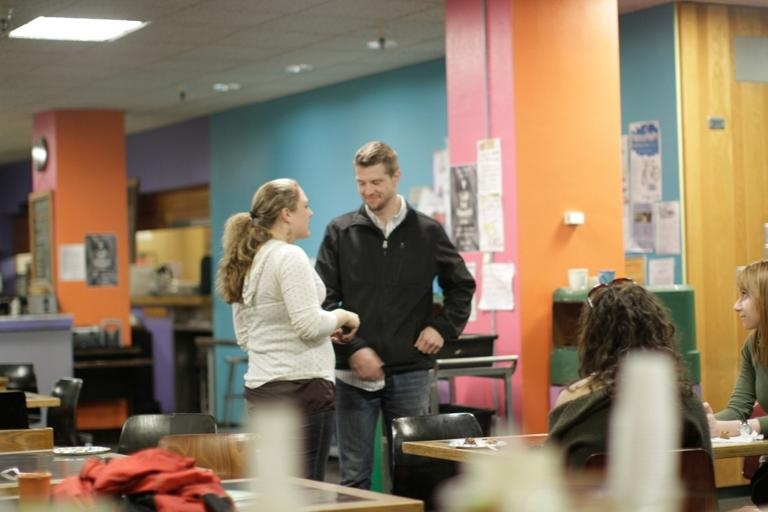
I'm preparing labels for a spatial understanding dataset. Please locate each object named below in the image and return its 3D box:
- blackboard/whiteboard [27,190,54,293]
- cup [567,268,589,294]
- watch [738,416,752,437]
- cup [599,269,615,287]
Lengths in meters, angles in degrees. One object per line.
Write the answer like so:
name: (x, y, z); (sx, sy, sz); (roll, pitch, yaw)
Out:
blackboard/whiteboard: (-3.709, -0.192, 9.233); (0.251, 1.073, 0.377); (-3, -6, -21)
cup: (1.234, 0.158, 5.330); (0.132, 0.135, 0.132); (0, -1, 0)
watch: (1.556, 0.742, 3.639); (0.056, 0.060, 0.074); (0, -8, 4)
cup: (1.234, 0.125, 4.722); (0.082, 0.081, 0.078); (0, 2, 0)
